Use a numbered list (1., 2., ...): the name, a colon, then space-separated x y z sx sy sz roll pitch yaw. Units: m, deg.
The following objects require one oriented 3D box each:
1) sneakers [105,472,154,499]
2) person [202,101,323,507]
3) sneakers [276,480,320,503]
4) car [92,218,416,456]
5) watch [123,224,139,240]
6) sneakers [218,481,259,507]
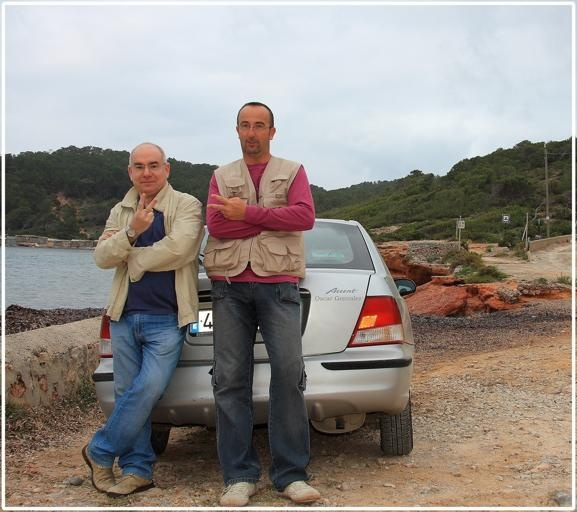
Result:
1. sneakers: -0.939 1.379 3.066 0.093 0.083 0.230 -1 -8 38
2. person: -0.154 0.228 3.093 0.703 2.397 0.546 -2 -2 -6
3. sneakers: 0.083 1.316 2.859 0.091 0.068 0.195 7 -13 -43
4. car: 0.160 0.528 4.046 1.383 0.988 2.288 -1 1 7
5. watch: -0.990 -0.148 3.209 0.066 0.102 0.095 -43 21 1
6. sneakers: -0.287 1.351 2.910 0.176 0.095 0.215 -3 -3 6
